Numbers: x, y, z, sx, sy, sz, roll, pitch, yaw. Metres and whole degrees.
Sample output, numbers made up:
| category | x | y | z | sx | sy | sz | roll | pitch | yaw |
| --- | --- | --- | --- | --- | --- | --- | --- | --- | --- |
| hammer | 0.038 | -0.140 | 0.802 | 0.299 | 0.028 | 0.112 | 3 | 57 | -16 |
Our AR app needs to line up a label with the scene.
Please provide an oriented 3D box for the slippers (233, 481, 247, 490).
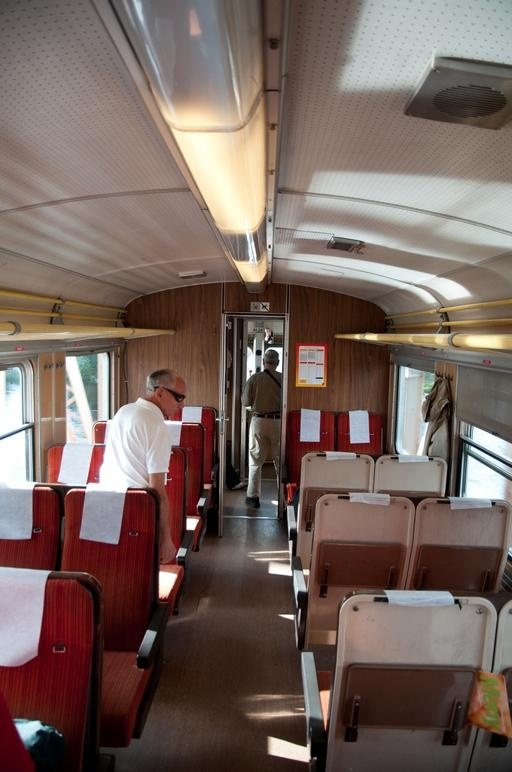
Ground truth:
| category | x | y | z | sx | sy | sz | roll | pitch | yaw |
| --- | --- | --- | --- | --- | --- | --- | --- | --- | --- |
| slippers | -0.267 | 1.654 | 8.483 | 0.084 | 0.110 | 0.265 | 2 | 7 | 12 |

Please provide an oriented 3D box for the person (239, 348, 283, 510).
| category | x | y | z | sx | sy | sz | roll | pitch | yaw |
| --- | --- | --- | --- | --- | --- | --- | --- | --- | --- |
| person | 0.069 | 0.647 | 7.459 | 0.540 | 2.333 | 0.450 | 1 | 3 | -2 |

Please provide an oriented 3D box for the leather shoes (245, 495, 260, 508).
| category | x | y | z | sx | sy | sz | roll | pitch | yaw |
| --- | --- | --- | --- | --- | --- | --- | --- | --- | --- |
| leather shoes | -0.060 | 1.731 | 7.657 | 0.095 | 0.186 | 0.259 | 2 | 6 | -16 |

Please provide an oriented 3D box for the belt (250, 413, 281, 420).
| category | x | y | z | sx | sy | sz | roll | pitch | yaw |
| --- | --- | --- | --- | --- | --- | --- | --- | --- | --- |
| belt | 0.143 | 0.435 | 7.472 | 0.388 | 0.080 | 0.098 | 2 | 3 | 4 |
